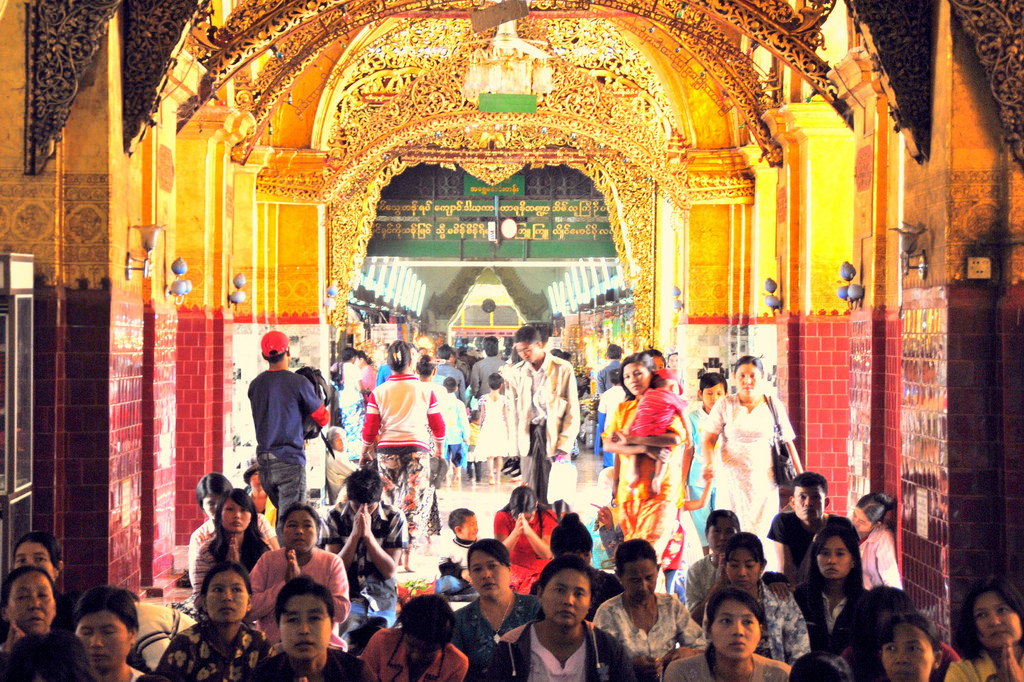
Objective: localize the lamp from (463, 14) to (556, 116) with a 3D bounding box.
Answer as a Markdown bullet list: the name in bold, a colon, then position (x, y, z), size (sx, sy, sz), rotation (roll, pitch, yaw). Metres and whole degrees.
- **lamp**: position (-0.034, -2.652, 14.865), size (0.850, 1.080, 0.896), rotation (1, 1, 35)

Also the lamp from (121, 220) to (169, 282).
- **lamp**: position (-2.871, -0.690, 11.653), size (0.383, 0.417, 0.381), rotation (-4, 7, -41)

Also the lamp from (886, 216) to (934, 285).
- **lamp**: position (2.956, -0.667, 11.106), size (0.318, 0.552, 0.299), rotation (-1, -2, 3)

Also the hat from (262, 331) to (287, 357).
- **hat**: position (-1.982, 0.002, 12.576), size (0.225, 0.201, 0.396), rotation (1, 19, -3)

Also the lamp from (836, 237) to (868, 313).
- **lamp**: position (3.027, -0.518, 13.352), size (0.185, 0.467, 0.499), rotation (0, -5, 5)

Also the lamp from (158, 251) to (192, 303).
- **lamp**: position (-2.846, -0.541, 12.744), size (0.194, 0.266, 0.490), rotation (-15, 21, -20)
